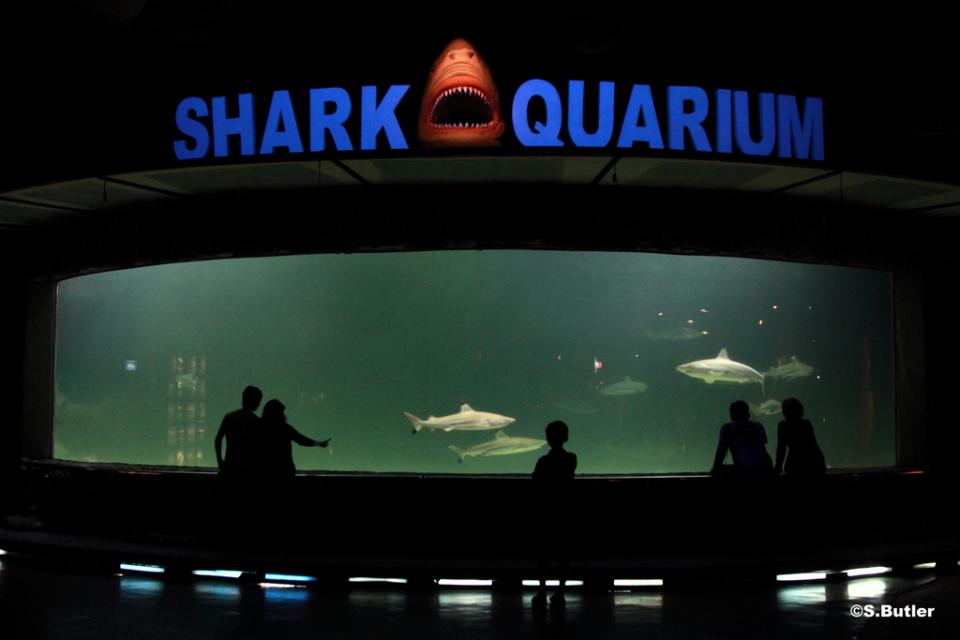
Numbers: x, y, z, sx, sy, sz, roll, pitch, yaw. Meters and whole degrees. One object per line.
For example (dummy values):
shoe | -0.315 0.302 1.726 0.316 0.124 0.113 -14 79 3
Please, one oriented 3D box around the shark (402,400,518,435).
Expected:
shark | -0.315 1.921 18.655 2.067 0.534 0.543 1 -10 -11

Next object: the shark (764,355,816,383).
shark | 6.651 1.008 19.964 0.240 0.492 1.425 3 -9 -16

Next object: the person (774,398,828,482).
person | 5.831 2.155 17.151 0.704 1.464 0.807 -7 -12 35

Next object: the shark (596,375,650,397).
shark | 3.405 1.495 21.126 0.374 0.412 1.163 8 -10 -40

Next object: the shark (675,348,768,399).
shark | 4.929 0.989 20.058 2.541 0.937 0.748 7 32 2

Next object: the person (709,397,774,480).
person | 4.759 2.128 16.982 1.064 1.360 0.673 -3 -11 14

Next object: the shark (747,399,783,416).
shark | 6.280 1.949 20.840 0.905 0.381 0.311 -3 -5 -20

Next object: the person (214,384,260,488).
person | -4.407 2.100 16.915 0.833 1.817 0.796 3 4 34

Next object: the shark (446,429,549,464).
shark | 0.775 2.425 18.986 2.994 0.678 0.694 -3 0 -31
